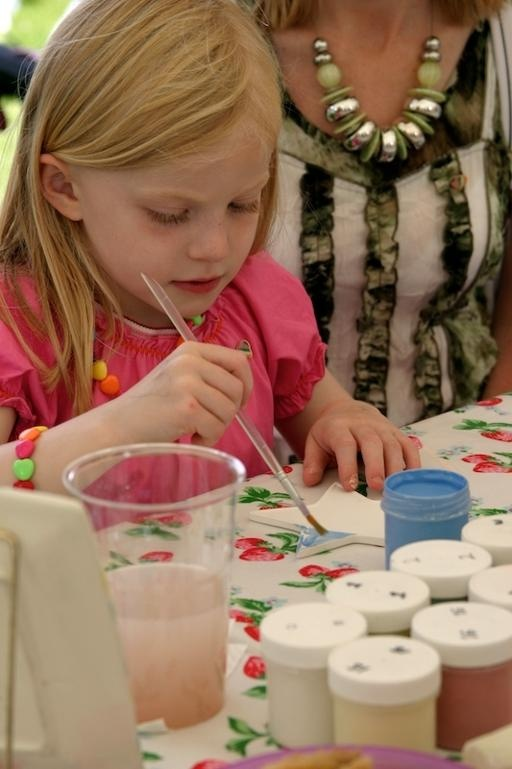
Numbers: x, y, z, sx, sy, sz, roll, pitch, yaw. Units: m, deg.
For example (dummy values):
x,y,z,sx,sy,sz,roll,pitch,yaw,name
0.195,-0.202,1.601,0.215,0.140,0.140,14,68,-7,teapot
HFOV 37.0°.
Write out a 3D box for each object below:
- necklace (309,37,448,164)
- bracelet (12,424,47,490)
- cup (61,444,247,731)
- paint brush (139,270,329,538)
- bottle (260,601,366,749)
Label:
x,y,z,sx,sy,sz,roll,pitch,yaw,name
0.255,-0.536,1.552,0.293,0.241,0.098,-6,-9,-11,necklace
-0.265,0.088,0.896,0.021,0.062,0.071,12,-10,-14,bracelet
-0.063,0.135,0.492,0.114,0.183,0.083,-5,12,-28,cup
-0.028,0.016,0.953,0.020,0.469,0.033,-44,-14,11,paint brush
0.028,0.177,0.495,0.088,0.077,0.078,-2,26,2,bottle
